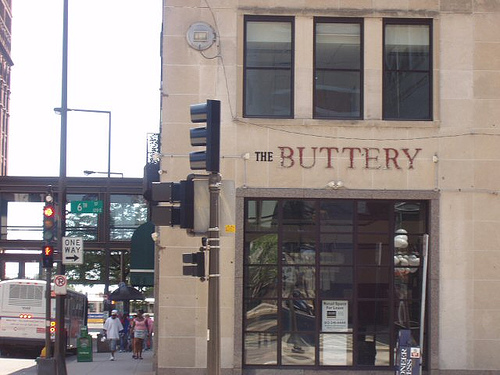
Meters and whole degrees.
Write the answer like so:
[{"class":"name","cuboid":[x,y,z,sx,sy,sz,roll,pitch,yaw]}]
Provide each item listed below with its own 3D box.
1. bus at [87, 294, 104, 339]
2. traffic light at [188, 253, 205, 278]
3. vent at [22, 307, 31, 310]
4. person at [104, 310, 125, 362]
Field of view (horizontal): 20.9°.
[{"class":"bus","cuboid":[-7.491,5.927,65.010,0.707,1.799,2.575,1,-8,-6]},{"class":"traffic light","cuboid":[-1.495,2.055,37.477,0.451,0.648,0.268,0,-7,-3]},{"class":"vent","cuboid":[-8.567,4.450,51.494,0.321,0.093,0.035,-1,-8,9]},{"class":"person","cuboid":[-5.074,5.221,49.638,0.885,1.796,0.720,3,-2,3]}]
